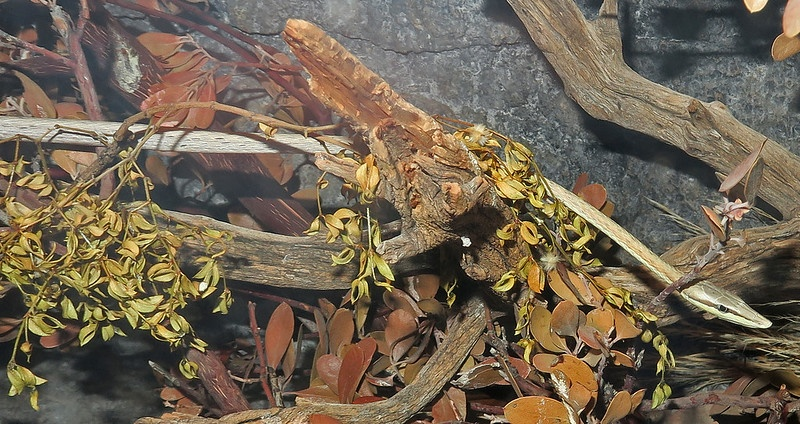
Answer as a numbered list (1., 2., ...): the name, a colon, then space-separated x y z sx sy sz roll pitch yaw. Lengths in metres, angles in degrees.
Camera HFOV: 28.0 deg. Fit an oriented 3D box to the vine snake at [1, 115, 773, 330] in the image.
1. vine snake: -0.123 0.051 5.198 2.670 0.099 0.411 8 23 5
